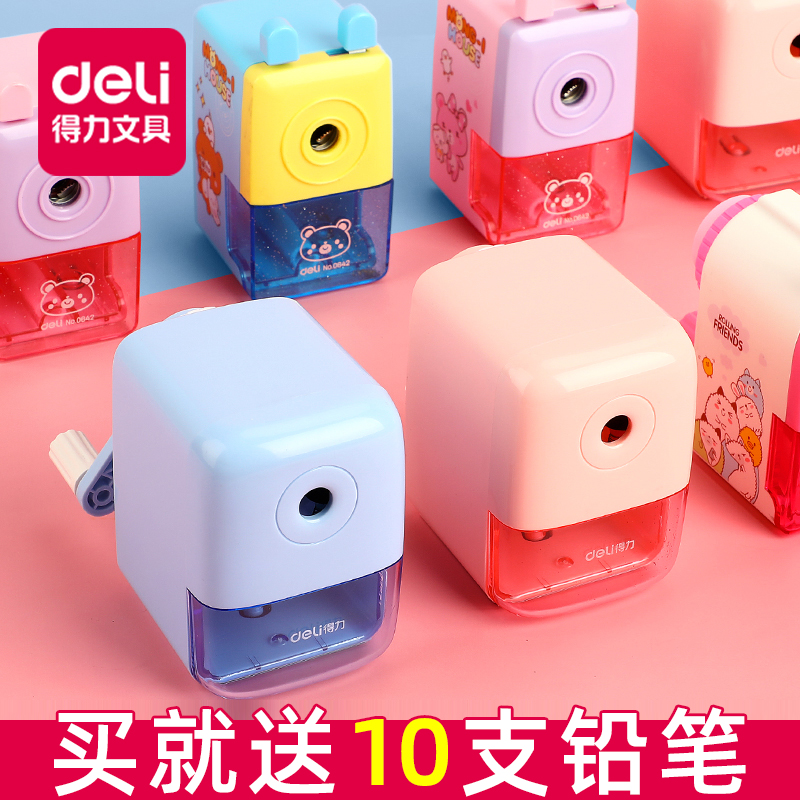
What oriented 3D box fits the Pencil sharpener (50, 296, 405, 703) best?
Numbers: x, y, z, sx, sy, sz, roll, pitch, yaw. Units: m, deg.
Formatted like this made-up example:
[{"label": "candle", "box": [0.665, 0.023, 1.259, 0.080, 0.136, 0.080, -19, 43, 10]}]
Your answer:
[{"label": "Pencil sharpener", "box": [-0.179, 0.006, 0.989, 0.212, 0.380, 0.470, -13, 41, -24]}]
